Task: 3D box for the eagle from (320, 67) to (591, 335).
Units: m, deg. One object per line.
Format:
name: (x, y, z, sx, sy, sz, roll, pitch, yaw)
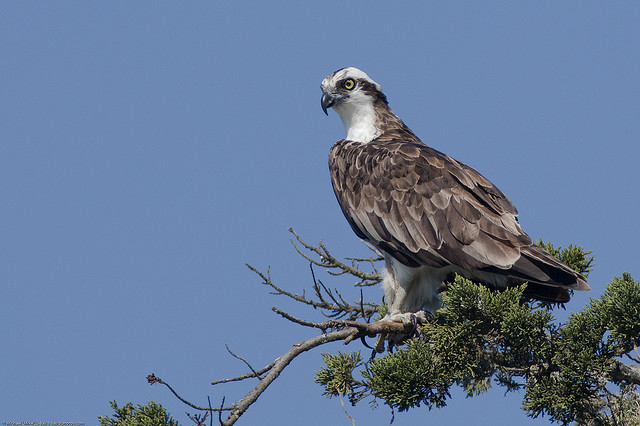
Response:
eagle: (1.499, -0.192, 20.925, 2.869, 4.665, 1.853, 15, -62, -16)
